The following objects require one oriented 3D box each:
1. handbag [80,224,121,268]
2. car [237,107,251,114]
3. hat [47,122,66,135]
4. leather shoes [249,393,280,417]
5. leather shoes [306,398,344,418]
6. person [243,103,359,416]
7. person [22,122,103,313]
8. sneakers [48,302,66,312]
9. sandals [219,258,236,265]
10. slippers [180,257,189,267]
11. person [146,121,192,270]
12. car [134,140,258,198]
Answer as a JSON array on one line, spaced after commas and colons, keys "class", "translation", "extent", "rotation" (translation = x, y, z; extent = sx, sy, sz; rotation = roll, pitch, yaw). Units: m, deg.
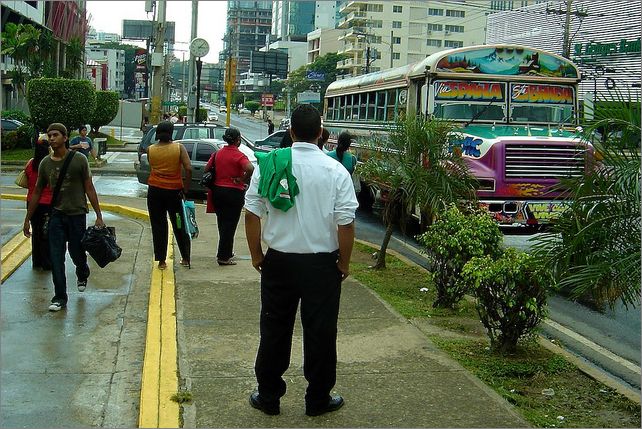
[{"class": "handbag", "translation": [-2.936, 0.414, 8.111], "extent": [0.445, 0.522, 0.335], "rotation": [-11, 30, -16]}, {"class": "car", "translation": [-15.795, -21.691, 123.795], "extent": [1.871, 1.321, 2.902], "rotation": [-1, -4, -21]}, {"class": "hat", "translation": [-3.387, -1.107, 7.660], "extent": [0.195, 0.118, 0.194], "rotation": [2, -3, -3]}, {"class": "leather shoes", "translation": [-0.527, 1.770, 5.600], "extent": [0.135, 0.134, 0.313], "rotation": [-4, 15, -32]}, {"class": "leather shoes", "translation": [0.036, 1.802, 5.668], "extent": [0.394, 0.167, 0.142], "rotation": [-9, 14, -40]}, {"class": "person", "translation": [-0.206, 0.430, 5.534], "extent": [0.972, 2.813, 0.630], "rotation": [2, 12, -7]}, {"class": "person", "translation": [-3.366, -0.025, 7.930], "extent": [0.748, 2.354, 0.880], "rotation": [-7, 15, -39]}, {"class": "sneakers", "translation": [-3.392, 1.182, 7.700], "extent": [0.096, 0.111, 0.264], "rotation": [1, -3, 1]}, {"class": "sandals", "translation": [-1.536, 0.760, 9.831], "extent": [0.268, 0.096, 0.104], "rotation": [-1, 2, 22]}, {"class": "slippers", "translation": [-2.173, 0.750, 9.558], "extent": [0.147, 0.168, 0.394], "rotation": [-1, 1, -11]}, {"class": "person", "translation": [-2.324, -0.271, 9.178], "extent": [0.630, 2.299, 0.483], "rotation": [0, 12, -15]}, {"class": "car", "translation": [-4.090, -1.448, 18.415], "extent": [3.626, 1.289, 1.676], "rotation": [0, 5, 1]}]
